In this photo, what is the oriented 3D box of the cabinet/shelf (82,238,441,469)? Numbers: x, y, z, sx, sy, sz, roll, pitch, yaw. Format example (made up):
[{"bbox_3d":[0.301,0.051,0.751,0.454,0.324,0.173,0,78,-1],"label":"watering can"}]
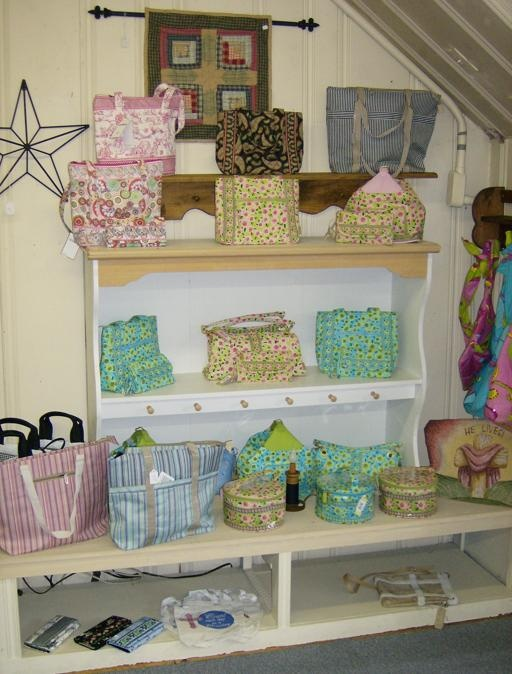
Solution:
[{"bbox_3d":[-0.017,0.049,2.535,1.067,0.681,0.302,-2,7,-12],"label":"cabinet/shelf"}]

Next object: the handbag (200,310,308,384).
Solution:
[{"bbox_3d":[-0.006,0.051,2.603,0.391,0.236,0.262,-6,15,-17],"label":"handbag"}]

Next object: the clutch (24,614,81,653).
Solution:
[{"bbox_3d":[-0.659,0.966,2.171,0.120,0.047,0.214,3,14,15],"label":"clutch"}]

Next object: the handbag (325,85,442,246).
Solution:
[{"bbox_3d":[0.506,-0.674,2.566,0.452,0.590,0.418,-1,15,2],"label":"handbag"}]

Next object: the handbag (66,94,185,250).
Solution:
[{"bbox_3d":[-0.455,-0.607,2.331,0.483,0.557,0.399,-5,15,-13],"label":"handbag"}]

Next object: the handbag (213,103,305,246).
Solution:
[{"bbox_3d":[0.007,-0.601,2.470,0.329,0.484,0.409,0,15,4],"label":"handbag"}]

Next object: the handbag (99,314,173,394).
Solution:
[{"bbox_3d":[-0.451,0.065,2.427,0.157,0.242,0.275,6,12,31],"label":"handbag"}]
